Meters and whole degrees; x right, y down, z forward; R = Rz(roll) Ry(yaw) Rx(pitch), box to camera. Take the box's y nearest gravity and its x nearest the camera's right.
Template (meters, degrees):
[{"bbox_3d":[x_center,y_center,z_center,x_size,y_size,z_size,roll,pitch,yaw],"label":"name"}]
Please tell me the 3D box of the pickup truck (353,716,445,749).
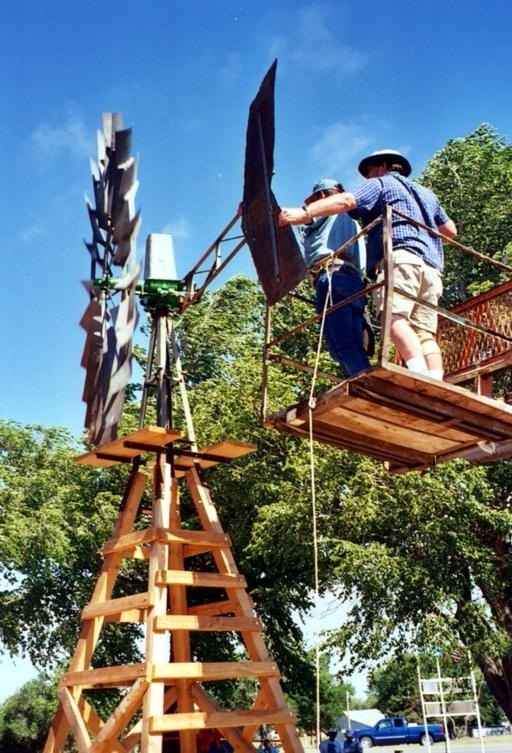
[{"bbox_3d":[6.792,16.874,42.858,3.781,1.402,3.050,-12,-15,22],"label":"pickup truck"}]
